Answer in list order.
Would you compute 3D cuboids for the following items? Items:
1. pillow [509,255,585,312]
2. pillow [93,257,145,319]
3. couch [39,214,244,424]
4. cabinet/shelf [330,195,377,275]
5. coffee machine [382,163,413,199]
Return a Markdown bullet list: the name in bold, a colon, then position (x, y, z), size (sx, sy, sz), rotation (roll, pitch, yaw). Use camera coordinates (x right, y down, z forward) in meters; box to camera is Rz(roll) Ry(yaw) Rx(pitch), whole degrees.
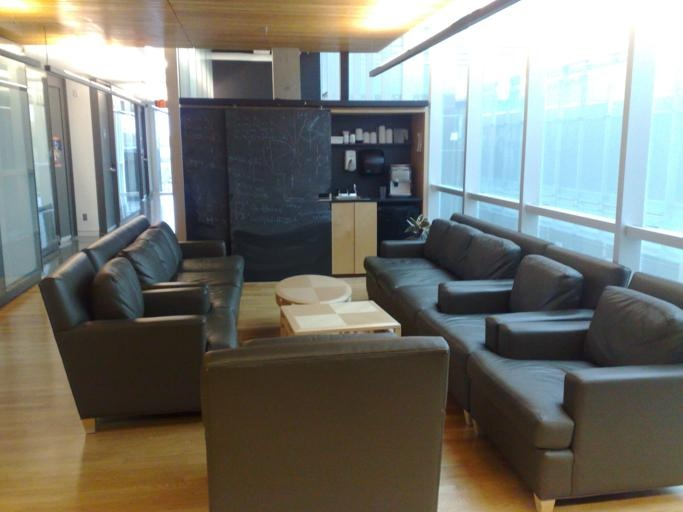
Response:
- **pillow**: position (1.699, 0.233, 4.644), size (0.215, 0.382, 0.407), rotation (14, 2, -11)
- **pillow**: position (-1.783, 0.247, 4.586), size (0.268, 0.451, 0.714), rotation (-10, 12, -12)
- **couch**: position (-1.599, 0.523, 4.686), size (0.789, 0.783, 1.784), rotation (-2, 16, -9)
- **cabinet/shelf**: position (0.177, -0.328, 8.011), size (0.642, 1.104, 0.380), rotation (-3, 24, -5)
- **coffee machine**: position (0.847, -1.094, 8.264), size (0.367, 0.513, 0.438), rotation (0, 3, 0)
